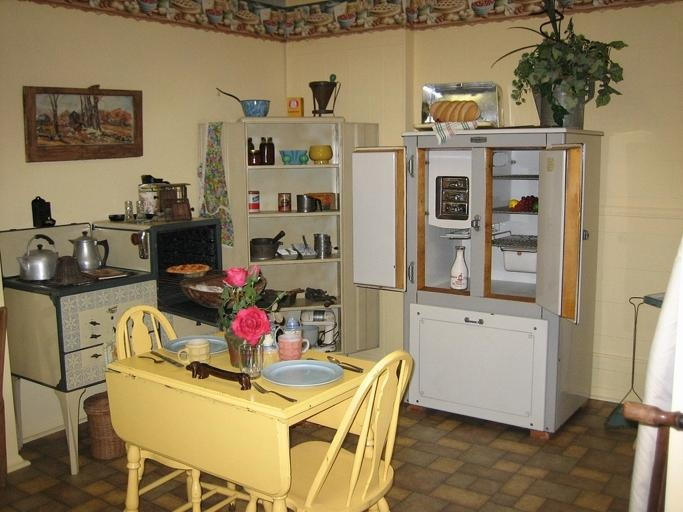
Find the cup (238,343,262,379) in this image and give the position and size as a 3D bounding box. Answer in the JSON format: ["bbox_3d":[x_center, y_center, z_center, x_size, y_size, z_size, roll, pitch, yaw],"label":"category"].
[{"bbox_3d":[-0.407,0.482,2.530,0.093,0.123,0.142,-2,4,-5],"label":"cup"}]

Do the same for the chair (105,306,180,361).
[{"bbox_3d":[-1.189,0.451,3.192,0.293,0.412,0.319,-13,23,-40],"label":"chair"}]

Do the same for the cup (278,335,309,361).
[{"bbox_3d":[-0.243,0.446,2.719,0.161,0.140,0.106,-3,6,-37],"label":"cup"}]

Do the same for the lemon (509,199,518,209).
[{"bbox_3d":[1.308,-0.390,4.145,0.059,0.064,0.079,-25,16,-39],"label":"lemon"}]

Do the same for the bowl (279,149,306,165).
[{"bbox_3d":[-0.403,-0.832,4.676,0.157,0.075,0.154,-1,5,0],"label":"bowl"}]

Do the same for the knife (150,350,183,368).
[{"bbox_3d":[-0.867,0.514,2.707,0.245,0.014,0.032,14,18,40],"label":"knife"}]

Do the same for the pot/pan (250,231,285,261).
[{"bbox_3d":[-0.608,-0.097,4.604,0.287,0.190,0.225,0,2,8],"label":"pot/pan"}]

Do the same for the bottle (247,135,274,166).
[{"bbox_3d":[-0.687,-0.887,4.606,0.223,0.224,0.249,-2,12,-10],"label":"bottle"}]

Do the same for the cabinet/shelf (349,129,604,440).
[{"bbox_3d":[1.115,0.120,4.186,1.727,2.083,1.073,5,10,41],"label":"cabinet/shelf"}]

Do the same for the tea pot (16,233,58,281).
[{"bbox_3d":[-2.069,0.000,3.731,0.245,0.292,0.330,6,8,8],"label":"tea pot"}]

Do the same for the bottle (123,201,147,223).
[{"bbox_3d":[-1.596,-0.334,4.185,0.210,0.193,0.184,-2,5,-24],"label":"bottle"}]

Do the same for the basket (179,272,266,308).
[{"bbox_3d":[-0.866,0.226,3.429,0.255,0.080,0.252,-7,26,-45],"label":"basket"}]

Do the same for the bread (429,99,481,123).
[{"bbox_3d":[0.817,-1.047,3.943,0.276,0.193,0.097,4,-18,22],"label":"bread"}]

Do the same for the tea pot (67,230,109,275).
[{"bbox_3d":[-1.827,-0.027,3.926,0.305,0.292,0.199,0,3,-18],"label":"tea pot"}]

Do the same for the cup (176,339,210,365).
[{"bbox_3d":[-0.709,0.462,2.677,0.160,0.105,0.102,-10,15,-44],"label":"cup"}]

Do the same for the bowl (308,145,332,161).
[{"bbox_3d":[-0.173,-0.868,4.610,0.147,0.104,0.145,0,7,0],"label":"bowl"}]

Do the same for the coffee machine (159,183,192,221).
[{"bbox_3d":[-1.269,-0.393,4.186,0.265,0.297,0.312,1,5,21],"label":"coffee machine"}]

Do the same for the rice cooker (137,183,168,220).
[{"bbox_3d":[-1.432,-0.432,4.262,0.235,0.318,0.233,0,6,4],"label":"rice cooker"}]

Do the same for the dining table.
[{"bbox_3d":[-0.507,0.482,2.720,1.183,0.945,0.811,3,6,24],"label":"dining table"}]

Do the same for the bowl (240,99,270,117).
[{"bbox_3d":[-0.720,-1.220,4.515,0.214,0.152,0.230,0,12,0],"label":"bowl"}]

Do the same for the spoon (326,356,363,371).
[{"bbox_3d":[0.011,0.514,2.641,0.057,0.032,0.214,-7,16,-42],"label":"spoon"}]
